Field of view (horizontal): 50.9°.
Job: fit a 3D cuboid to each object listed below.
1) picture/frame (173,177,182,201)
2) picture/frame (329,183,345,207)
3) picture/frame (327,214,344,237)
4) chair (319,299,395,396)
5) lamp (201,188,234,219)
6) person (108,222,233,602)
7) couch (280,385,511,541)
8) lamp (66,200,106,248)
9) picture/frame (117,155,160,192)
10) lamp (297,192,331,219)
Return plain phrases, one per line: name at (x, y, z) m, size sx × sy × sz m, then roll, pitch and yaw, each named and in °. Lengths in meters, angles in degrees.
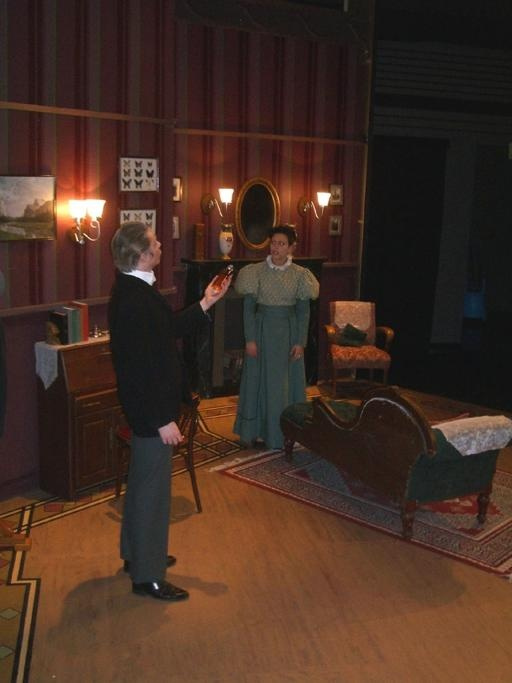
picture/frame at (-0.839, -1.640, 5.828) m, size 0.049 × 0.253 × 0.128 m, roll 5°, pitch 6°, yaw 41°
picture/frame at (1.015, -1.868, 6.832) m, size 0.265 × 0.364 × 0.015 m, roll -7°, pitch 12°, yaw -34°
picture/frame at (1.009, -1.497, 6.896) m, size 0.272 × 0.380 × 0.049 m, roll -4°, pitch 9°, yaw -25°
chair at (1.183, 0.062, 6.254) m, size 0.773 × 1.038 × 0.846 m, roll 4°, pitch 6°, yaw 25°
lamp at (-0.431, -1.544, 6.062) m, size 0.314 × 0.388 × 0.287 m, roll 7°, pitch 12°, yaw 36°
person at (-0.406, 0.357, 2.261) m, size 0.421 × 1.652 × 0.438 m, roll 0°, pitch 5°, yaw -16°
couch at (0.774, 0.464, 3.455) m, size 0.718 × 0.793 × 1.400 m, roll -4°, pitch 17°, yaw -23°
lamp at (-1.288, -0.864, 3.966) m, size 0.212 × 0.307 × 0.282 m, roll 4°, pitch 12°, yaw 32°
picture/frame at (-0.972, -1.367, 4.372) m, size 0.049 × 0.257 × 0.357 m, roll 6°, pitch 12°, yaw 39°
lamp at (0.738, -1.685, 6.738) m, size 0.352 × 0.440 × 0.306 m, roll 7°, pitch 9°, yaw 41°
